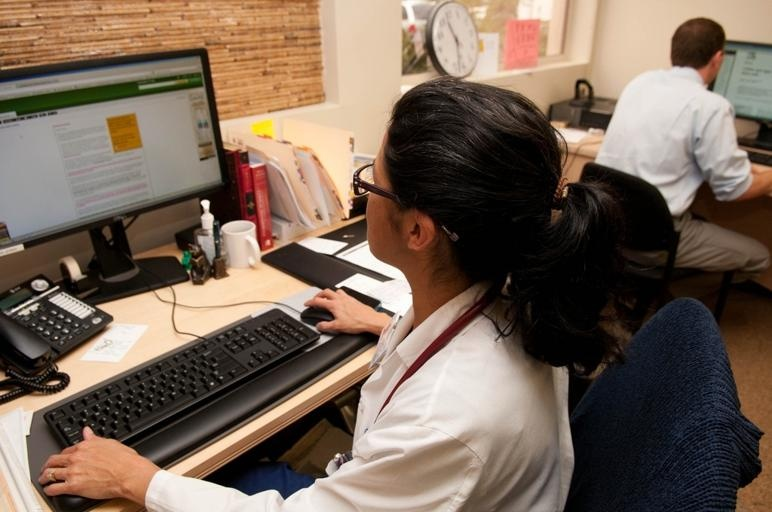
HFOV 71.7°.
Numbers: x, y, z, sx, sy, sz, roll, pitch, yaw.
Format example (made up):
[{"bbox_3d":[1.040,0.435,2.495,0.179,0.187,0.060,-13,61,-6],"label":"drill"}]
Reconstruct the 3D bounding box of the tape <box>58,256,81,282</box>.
[{"bbox_3d":[-1.042,0.043,1.742,0.022,0.059,0.062,-27,47,-35],"label":"tape"}]

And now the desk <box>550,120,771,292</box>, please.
[{"bbox_3d":[1.213,-0.219,2.229,0.577,0.710,0.518,-36,35,2],"label":"desk"}]

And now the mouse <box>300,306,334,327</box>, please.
[{"bbox_3d":[-0.224,0.185,1.666,0.087,0.025,0.058,-6,30,-6],"label":"mouse"}]

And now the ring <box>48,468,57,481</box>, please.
[{"bbox_3d":[-0.774,0.503,1.234,0.013,0.024,0.018,1,17,-24],"label":"ring"}]
